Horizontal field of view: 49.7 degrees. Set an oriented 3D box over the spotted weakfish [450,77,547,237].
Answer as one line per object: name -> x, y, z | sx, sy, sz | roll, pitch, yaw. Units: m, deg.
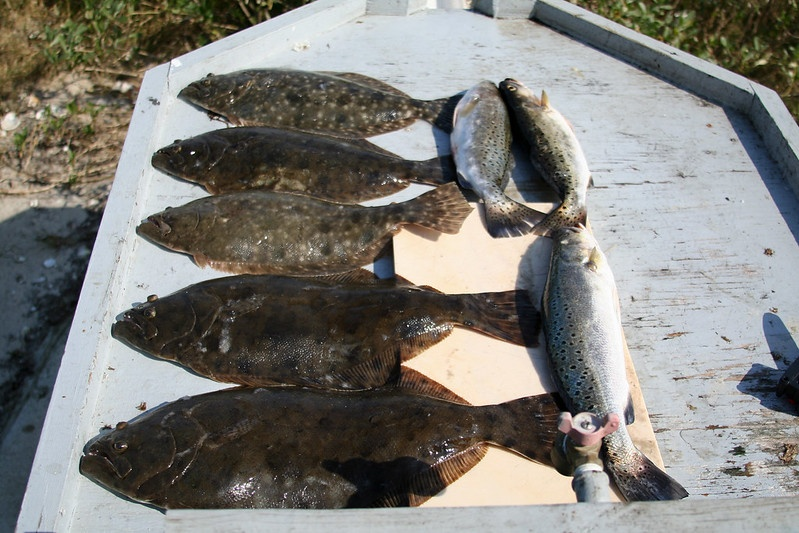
spotted weakfish -> 0.936, -0.980, 8.171 | 0.660, 0.613, 1.826 | 12, 52, -28
